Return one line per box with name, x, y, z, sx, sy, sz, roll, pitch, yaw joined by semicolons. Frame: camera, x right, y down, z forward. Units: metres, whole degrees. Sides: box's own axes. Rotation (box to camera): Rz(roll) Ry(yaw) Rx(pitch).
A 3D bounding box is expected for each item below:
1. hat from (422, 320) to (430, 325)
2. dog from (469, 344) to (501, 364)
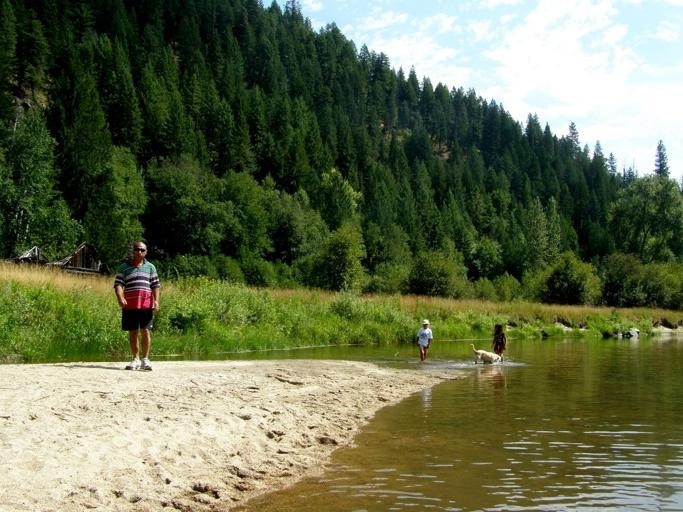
hat;3.910;3.104;39.372;0.393;0.145;0.433;0;1;-3
dog;6.688;4.620;38.561;1.115;0.580;0.623;0;-2;8
